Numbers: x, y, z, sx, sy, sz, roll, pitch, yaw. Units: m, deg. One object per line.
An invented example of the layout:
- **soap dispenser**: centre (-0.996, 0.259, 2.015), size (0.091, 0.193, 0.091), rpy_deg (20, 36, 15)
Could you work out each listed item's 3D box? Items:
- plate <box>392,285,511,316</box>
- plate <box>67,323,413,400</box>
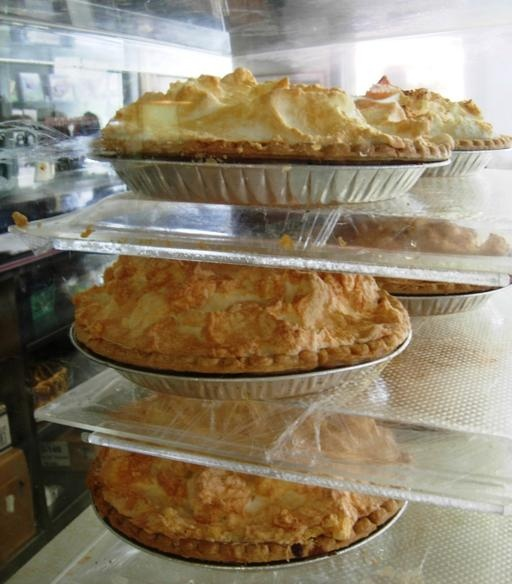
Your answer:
- **plate**: centre (0.327, 0.007, 0.979), size (0.182, 0.051, 0.165), rpy_deg (-4, 13, -8)
- **plate**: centre (-0.041, 0.115, 0.841), size (0.553, 0.115, 0.273), rpy_deg (-1, 15, 6)
